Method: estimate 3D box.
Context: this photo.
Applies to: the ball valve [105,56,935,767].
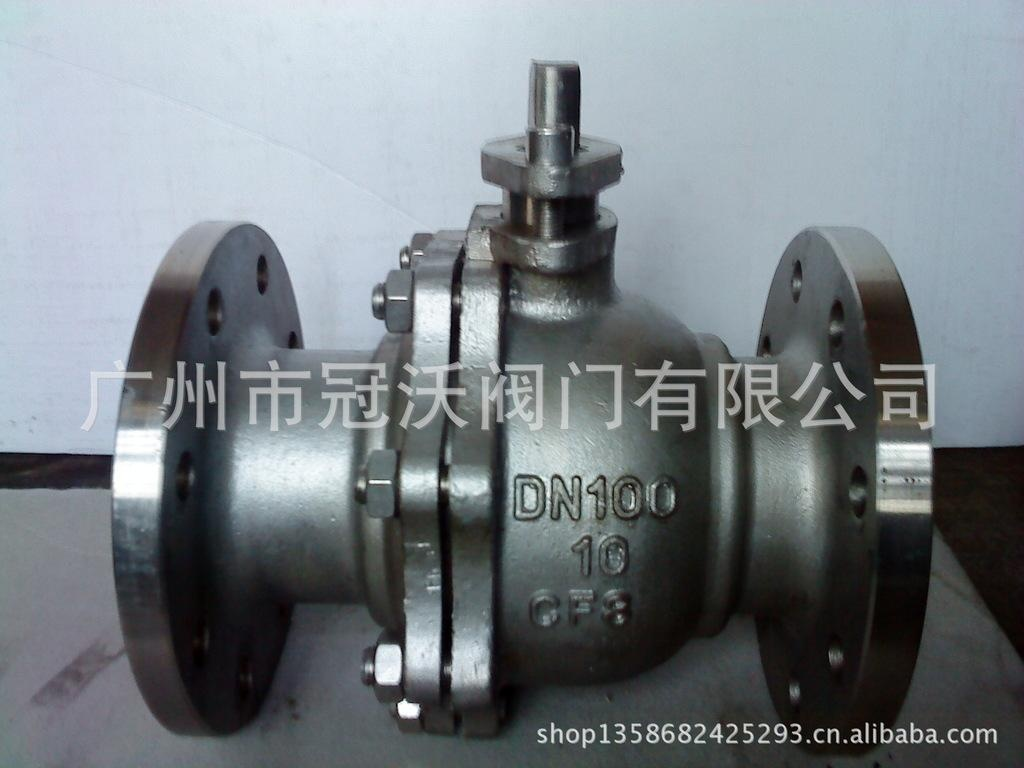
[{"bbox_3d":[0.005,0.067,1.752,1.212,1.136,0.451,-2,11,2],"label":"ball valve"}]
